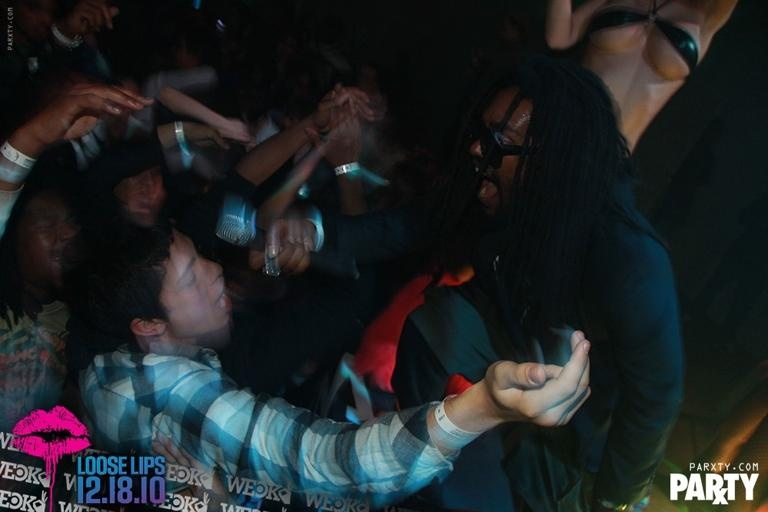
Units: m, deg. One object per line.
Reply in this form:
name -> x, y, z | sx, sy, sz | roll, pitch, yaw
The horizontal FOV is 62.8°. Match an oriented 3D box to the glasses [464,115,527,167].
glasses -> 0.426, -0.435, 2.448 | 0.216, 0.168, 0.205 | 19, 18, -3
